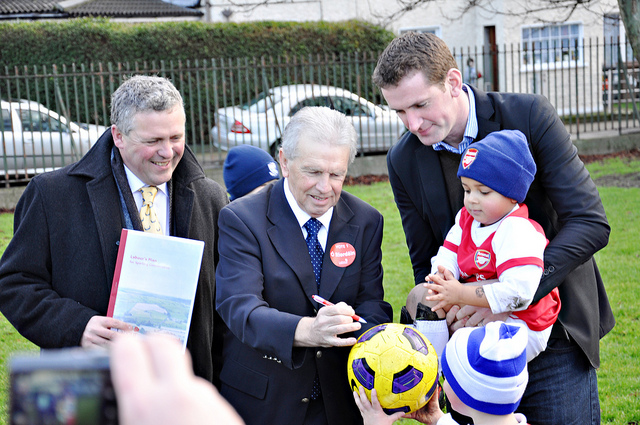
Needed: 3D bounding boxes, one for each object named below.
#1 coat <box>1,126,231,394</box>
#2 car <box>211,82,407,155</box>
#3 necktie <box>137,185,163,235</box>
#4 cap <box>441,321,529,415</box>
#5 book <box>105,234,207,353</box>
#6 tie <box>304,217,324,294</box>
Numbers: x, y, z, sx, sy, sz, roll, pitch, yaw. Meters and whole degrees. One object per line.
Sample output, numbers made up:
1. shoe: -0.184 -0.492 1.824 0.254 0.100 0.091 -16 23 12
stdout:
1. coat: -1.837 0.306 5.565 1.587 2.362 1.585 1 -2 -20
2. car: -0.203 -2.532 15.609 4.748 1.876 2.582 -10 19 -17
3. necktie: -1.391 -0.012 4.995 0.201 0.489 0.052 2 32 -10
4. cap: 1.116 0.974 4.102 0.422 0.496 0.597 -22 39 -30
5. book: -1.223 0.576 4.489 0.617 0.974 0.068 14 1 -5
6. tie: -0.042 0.315 4.646 0.111 0.578 0.063 4 -25 -4
